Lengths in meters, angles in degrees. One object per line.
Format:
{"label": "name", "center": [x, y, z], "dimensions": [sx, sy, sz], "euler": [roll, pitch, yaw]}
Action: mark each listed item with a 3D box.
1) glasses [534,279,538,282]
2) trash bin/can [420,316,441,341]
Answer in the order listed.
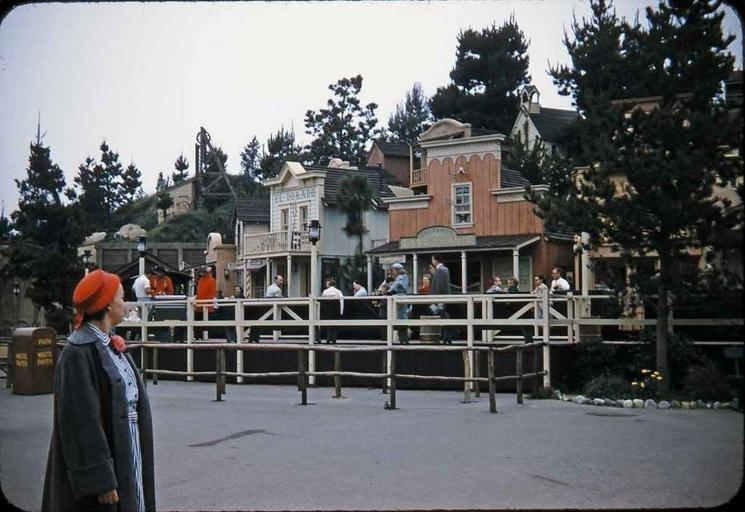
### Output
{"label": "glasses", "center": [4.713, 0.656, 39.851], "dimensions": [0.081, 0.150, 0.116], "euler": [-5, 6, -13]}
{"label": "trash bin/can", "center": [1.423, 1.802, 34.782], "dimensions": [0.534, 0.571, 0.559], "euler": [4, -9, -25]}
